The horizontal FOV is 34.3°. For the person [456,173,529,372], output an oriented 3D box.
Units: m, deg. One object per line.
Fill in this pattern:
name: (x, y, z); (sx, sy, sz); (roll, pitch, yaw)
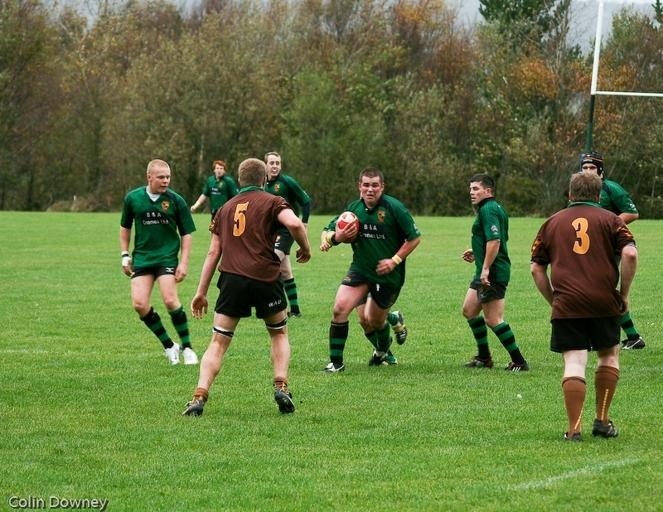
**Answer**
person: (2.652, 0.238, 17.944); (0.924, 3.249, 1.012); (0, 0, 6)

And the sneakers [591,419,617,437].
sneakers: (3.907, 2.455, 15.452); (0.367, 0.192, 0.184); (2, 0, -42)

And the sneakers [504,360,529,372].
sneakers: (3.040, 1.799, 17.748); (0.303, 0.153, 0.170); (1, 6, 11)

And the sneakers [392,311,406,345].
sneakers: (1.163, 1.279, 19.015); (0.270, 0.633, 0.196); (-24, 19, -38)

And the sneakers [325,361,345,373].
sneakers: (0.031, 1.833, 17.680); (0.353, 0.167, 0.131); (3, -4, -27)

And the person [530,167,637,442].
person: (3.640, 0.695, 15.549); (1.404, 3.829, 0.572); (0, 0, 13)

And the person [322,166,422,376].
person: (0.677, 0.225, 17.877); (1.418, 3.342, 0.670); (0, 0, 2)

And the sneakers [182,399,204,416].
sneakers: (-2.066, 2.270, 15.979); (0.164, 0.169, 0.354); (26, -52, -20)

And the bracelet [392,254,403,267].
bracelet: (1.062, 0.057, 17.650); (0.141, 0.136, 0.179); (28, -21, 34)

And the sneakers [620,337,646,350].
sneakers: (5.188, 1.518, 18.677); (0.447, 0.239, 0.175); (-4, -19, 7)

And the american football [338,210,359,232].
american football: (0.248, -0.581, 17.682); (0.292, 0.307, 0.359); (-37, -10, 29)

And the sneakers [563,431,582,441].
sneakers: (3.428, 2.557, 15.337); (0.101, 0.129, 0.285); (-1, 5, -13)

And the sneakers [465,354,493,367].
sneakers: (2.455, 1.733, 18.042); (0.476, 0.231, 0.186); (3, -1, 1)
